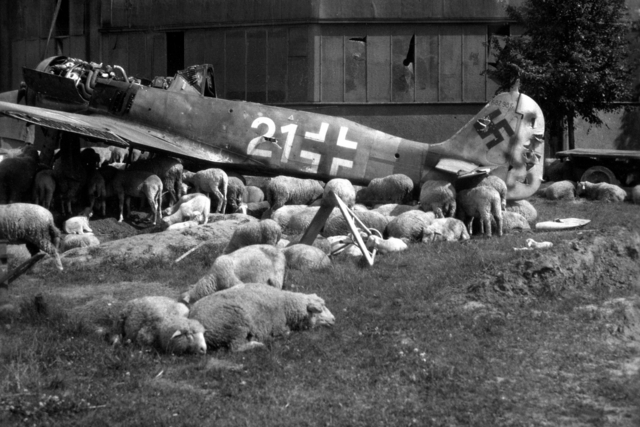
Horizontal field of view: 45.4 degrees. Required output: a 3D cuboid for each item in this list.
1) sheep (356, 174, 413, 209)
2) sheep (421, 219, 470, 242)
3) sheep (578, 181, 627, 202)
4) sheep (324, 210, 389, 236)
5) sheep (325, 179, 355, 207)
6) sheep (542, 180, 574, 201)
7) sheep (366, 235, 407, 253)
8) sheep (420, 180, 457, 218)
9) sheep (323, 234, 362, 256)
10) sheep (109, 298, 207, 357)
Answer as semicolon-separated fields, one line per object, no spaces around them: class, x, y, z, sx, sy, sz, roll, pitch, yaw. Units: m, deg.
sheep;2.061;-0.748;23.318;1.315;0.771;0.868;-6;7;13
sheep;3.249;0.444;19.864;1.247;0.644;0.556;-1;-5;-29
sheep;9.584;-0.749;26.089;0.663;0.704;1.506;5;9;-29
sheep;0.899;0.234;19.965;1.069;0.509;0.848;-5;6;-26
sheep;0.604;-0.659;21.647;0.609;0.694;0.822;1;15;-19
sheep;8.428;-0.776;26.629;0.699;0.454;0.721;0;0;-36
sheep;1.694;0.773;18.701;1.152;0.445;0.529;5;1;-35
sheep;3.304;-0.416;21.314;0.667;1.041;1.157;4;1;-33
sheep;0.533;0.753;18.453;0.662;0.512;1.242;5;1;-13
sheep;-3.069;2.301;14.888;1.679;0.898;1.003;33;5;17
